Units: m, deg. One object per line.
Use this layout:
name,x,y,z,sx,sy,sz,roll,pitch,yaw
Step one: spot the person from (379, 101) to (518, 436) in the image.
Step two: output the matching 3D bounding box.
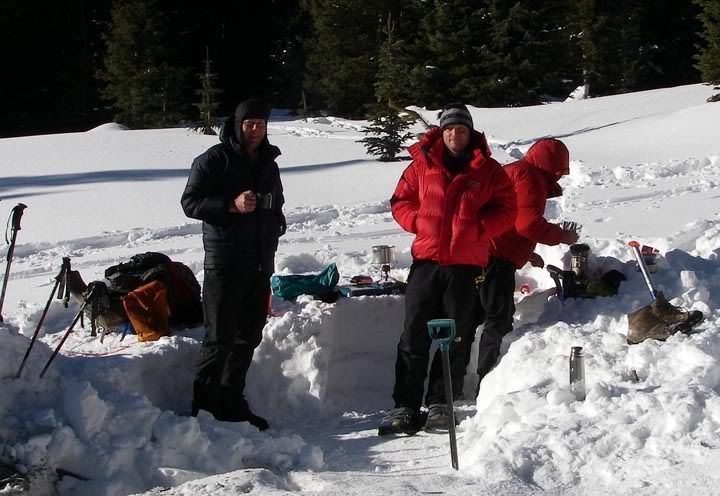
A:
person,0.722,0.171,5.569,1.043,2.696,0.597,0,5,12

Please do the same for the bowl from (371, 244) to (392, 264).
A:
bowl,0.216,0.057,6.529,0.178,0.127,0.178,-2,2,0

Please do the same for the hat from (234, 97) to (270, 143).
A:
hat,-0.856,-1.078,5.606,0.280,0.378,0.356,2,17,-26

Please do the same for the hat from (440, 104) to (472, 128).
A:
hat,0.816,-1.095,5.609,0.219,0.178,0.222,3,5,35

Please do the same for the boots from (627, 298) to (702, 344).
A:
boots,2.459,0.588,5.379,0.473,0.212,0.379,-13,25,16

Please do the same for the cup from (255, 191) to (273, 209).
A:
cup,-0.783,-0.384,5.418,0.130,0.123,0.129,0,5,0

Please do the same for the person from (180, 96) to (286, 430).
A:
person,-1.024,0.152,5.545,0.834,2.749,0.619,-2,5,-13
